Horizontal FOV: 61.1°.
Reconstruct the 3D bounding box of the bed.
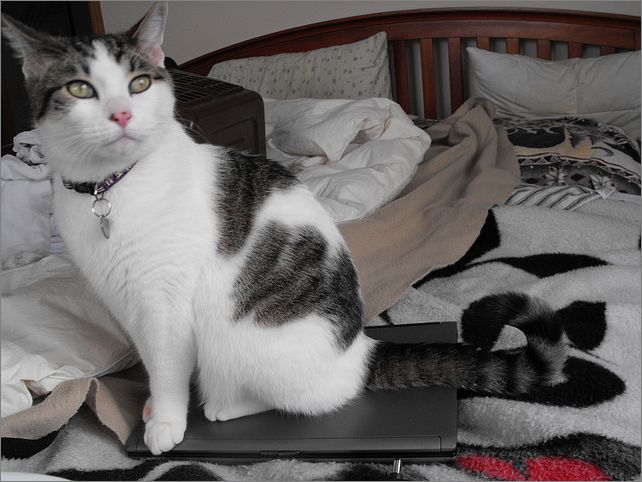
[{"bbox_3d":[0.069,0.002,1.415,1.527,1.062,0.579,1,12,3],"label":"bed"}]
